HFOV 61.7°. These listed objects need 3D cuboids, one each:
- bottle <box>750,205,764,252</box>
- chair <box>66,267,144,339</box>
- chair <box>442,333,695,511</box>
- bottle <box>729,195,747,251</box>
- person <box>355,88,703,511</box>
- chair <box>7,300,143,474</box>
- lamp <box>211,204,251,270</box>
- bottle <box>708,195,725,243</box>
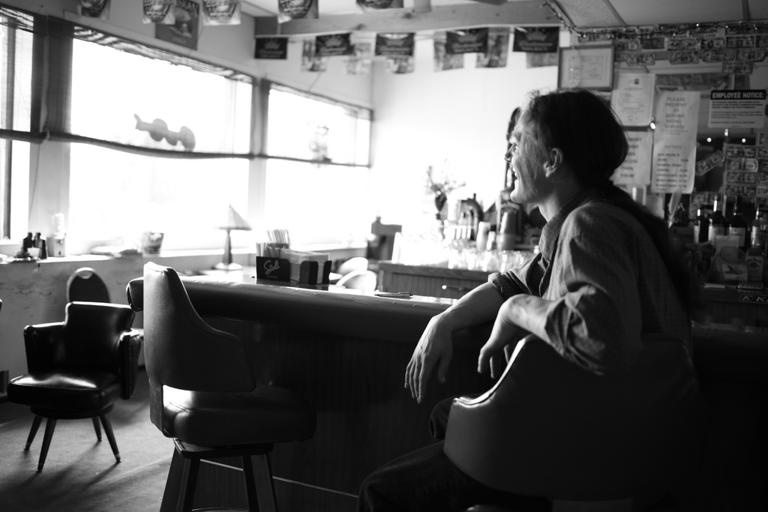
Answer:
[{"bbox_3d":[2.730,-0.201,4.716,0.091,0.301,0.368,5,8,29],"label":"bottle"},{"bbox_3d":[-2.324,0.445,5.473,0.533,0.574,0.471,2,16,10],"label":"chair"},{"bbox_3d":[0.588,0.453,2.069,0.763,0.436,0.739,0,0,-40],"label":"chair"},{"bbox_3d":[2.605,-0.244,4.755,0.120,0.383,0.387,5,8,29],"label":"bottle"},{"bbox_3d":[0.704,0.235,3.004,1.352,2.429,1.129,2,-5,29],"label":"person"},{"bbox_3d":[-2.051,0.835,4.377,0.926,1.235,1.038,1,-5,-3],"label":"chair"},{"bbox_3d":[-1.732,-0.197,7.137,0.487,0.671,0.504,4,4,25],"label":"lamp"},{"bbox_3d":[2.467,-0.282,4.780,0.112,0.332,0.365,4,7,26],"label":"bottle"}]
